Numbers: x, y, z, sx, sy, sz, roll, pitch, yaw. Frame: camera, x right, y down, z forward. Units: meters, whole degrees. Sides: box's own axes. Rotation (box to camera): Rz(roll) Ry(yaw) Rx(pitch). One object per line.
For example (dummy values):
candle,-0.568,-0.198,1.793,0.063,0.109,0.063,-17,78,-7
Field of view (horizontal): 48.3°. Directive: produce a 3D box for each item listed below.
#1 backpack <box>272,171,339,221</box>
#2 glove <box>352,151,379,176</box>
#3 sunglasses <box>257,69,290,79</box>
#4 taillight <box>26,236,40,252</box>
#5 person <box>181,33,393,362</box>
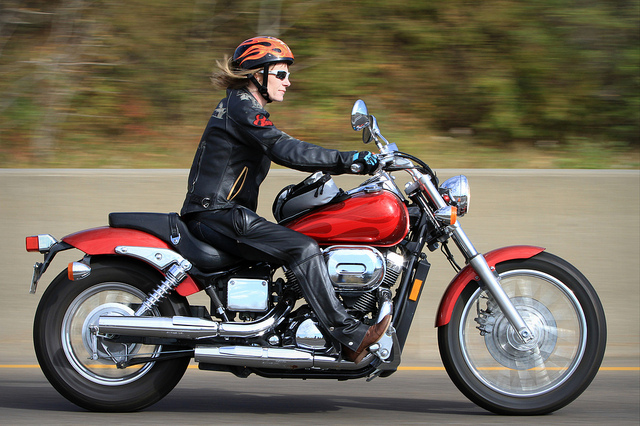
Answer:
backpack,0.012,-0.127,6.751,0.725,0.307,0.767,1,-18,-23
glove,0.427,-0.450,6.376,0.236,0.204,0.131,3,9,0
sunglasses,-0.386,-1.306,6.730,0.195,0.032,0.118,5,2,-8
taillight,-2.657,0.291,6.591,0.197,0.110,0.146,0,-16,-19
person,-0.300,-0.183,6.585,1.879,2.897,0.690,6,11,18
